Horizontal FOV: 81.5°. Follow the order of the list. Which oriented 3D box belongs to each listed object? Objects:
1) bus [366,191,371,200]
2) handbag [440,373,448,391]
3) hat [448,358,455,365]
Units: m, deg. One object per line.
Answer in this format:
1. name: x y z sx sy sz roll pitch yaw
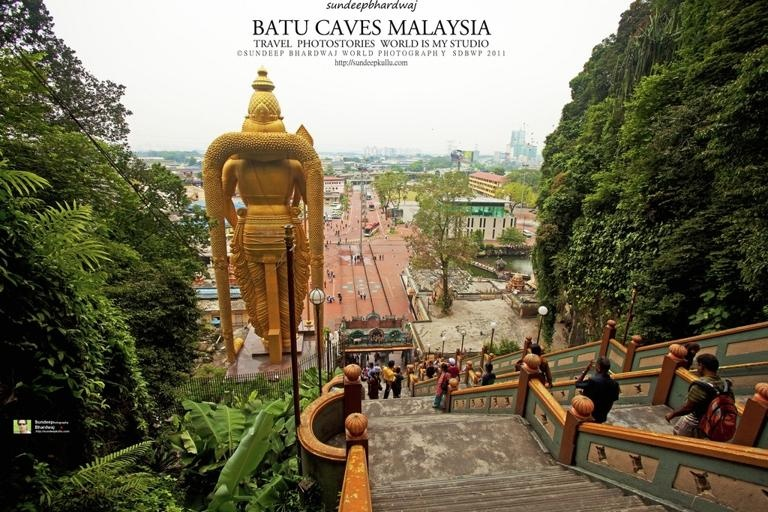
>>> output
1. bus: -3.200 -12.670 96.293 1.255 0.953 4.434 -2 14 -2
2. handbag: 1.562 3.161 11.227 0.153 0.389 0.284 -3 1 -41
3. hat: 2.144 3.291 14.088 0.219 0.213 0.279 -8 -18 12
